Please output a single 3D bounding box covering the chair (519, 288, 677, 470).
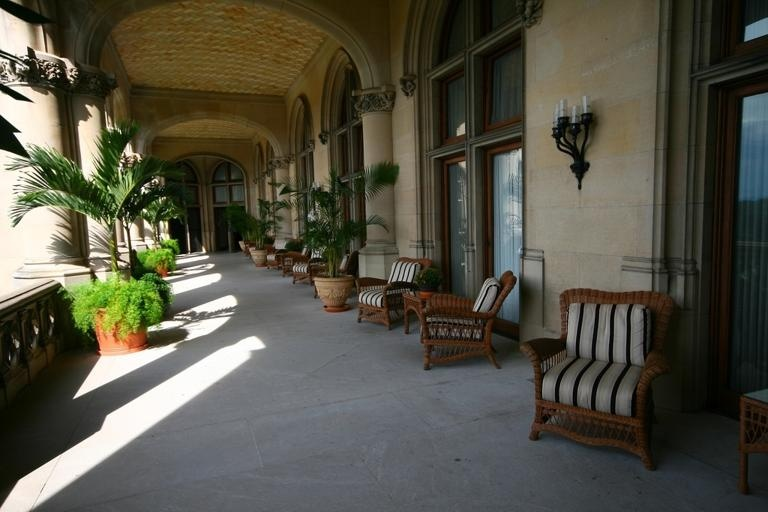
[{"bbox_3d":[2.074,1.095,4.374,1.200,1.424,1.167,0,6,33],"label":"chair"}]

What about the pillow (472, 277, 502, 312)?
[{"bbox_3d":[1.355,0.514,6.000,0.329,0.592,0.652,6,12,11],"label":"pillow"}]

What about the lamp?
[{"bbox_3d":[2.236,-1.295,5.285,0.434,1.040,0.268,2,7,40],"label":"lamp"}]

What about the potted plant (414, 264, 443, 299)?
[{"bbox_3d":[0.733,0.416,7.285,0.451,0.513,0.443,1,-2,-18],"label":"potted plant"}]

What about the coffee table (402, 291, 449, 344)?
[{"bbox_3d":[0.604,0.925,7.006,0.624,0.680,0.674,-1,3,-18],"label":"coffee table"}]

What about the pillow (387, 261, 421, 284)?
[{"bbox_3d":[0.382,0.278,8.050,0.421,0.424,0.154,0,-23,46],"label":"pillow"}]

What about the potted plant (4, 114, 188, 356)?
[{"bbox_3d":[-4.058,-0.242,6.474,1.787,3.244,1.387,-7,7,-39],"label":"potted plant"}]

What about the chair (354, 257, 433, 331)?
[{"bbox_3d":[0.082,0.632,7.869,1.229,1.207,1.059,-5,6,-39],"label":"chair"}]
